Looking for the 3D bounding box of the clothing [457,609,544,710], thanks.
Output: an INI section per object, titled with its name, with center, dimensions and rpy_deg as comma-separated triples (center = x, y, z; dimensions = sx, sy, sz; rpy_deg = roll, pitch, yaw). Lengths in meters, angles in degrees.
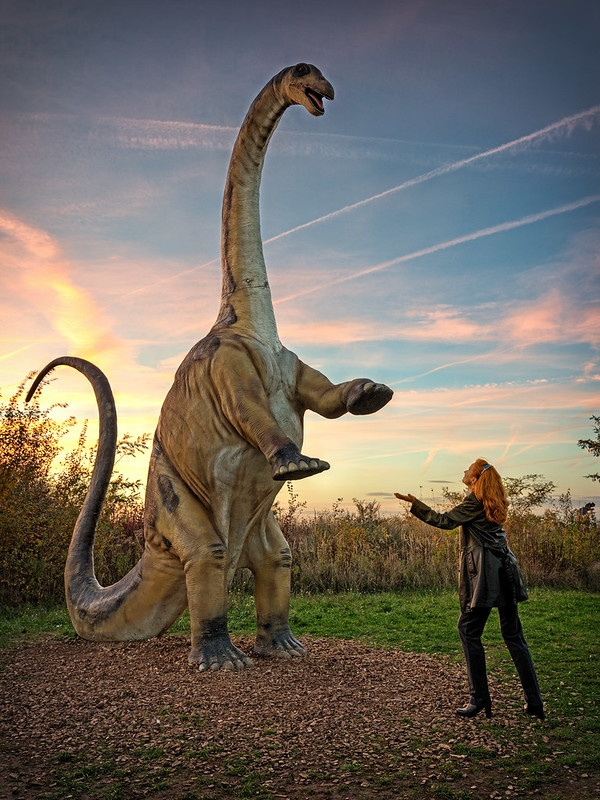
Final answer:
[clothing]
center = 1.261, 1.611, 4.166
dimensions = 0.520, 0.658, 0.250
rpy_deg = -1, -10, 3
